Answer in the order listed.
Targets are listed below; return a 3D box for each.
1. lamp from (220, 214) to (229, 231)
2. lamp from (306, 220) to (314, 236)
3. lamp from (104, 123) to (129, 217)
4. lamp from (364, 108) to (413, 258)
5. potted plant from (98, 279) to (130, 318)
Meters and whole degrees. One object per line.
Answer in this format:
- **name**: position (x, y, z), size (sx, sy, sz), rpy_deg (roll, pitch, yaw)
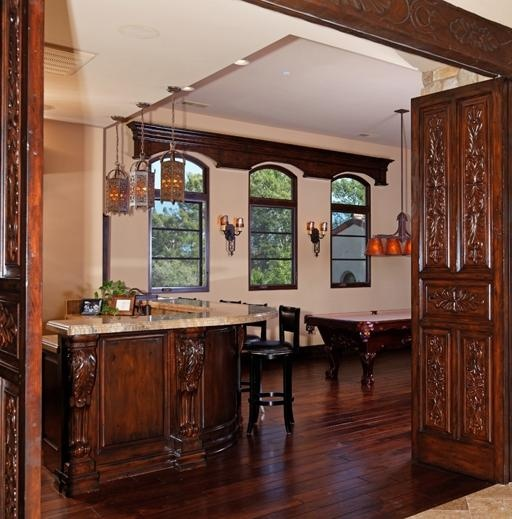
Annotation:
- **lamp**: position (-0.496, -0.585, 8.231), size (0.115, 0.194, 0.195), rpy_deg (-1, 1, 39)
- **lamp**: position (0.960, -0.564, 9.210), size (0.139, 0.169, 0.132), rpy_deg (-2, 1, 5)
- **lamp**: position (-1.707, -1.186, 6.260), size (0.298, 1.023, 2.207), rpy_deg (-2, 1, -14)
- **lamp**: position (1.983, -1.016, 6.984), size (0.905, 1.872, 0.861), rpy_deg (-3, 8, -4)
- **potted plant**: position (-1.302, 0.334, 4.658), size (0.330, 0.306, 0.319), rpy_deg (-1, 2, -26)
